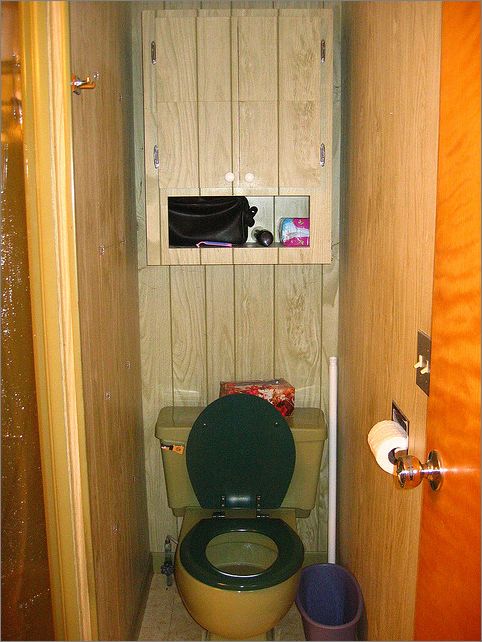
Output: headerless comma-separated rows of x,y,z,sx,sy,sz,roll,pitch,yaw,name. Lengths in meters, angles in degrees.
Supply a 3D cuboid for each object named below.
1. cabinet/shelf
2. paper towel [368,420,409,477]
-0.017,-0.572,1.680,0.403,0.877,0.241,2,15,6,cabinet/shelf
0.247,0.205,0.967,0.063,0.103,0.095,3,7,7,paper towel
